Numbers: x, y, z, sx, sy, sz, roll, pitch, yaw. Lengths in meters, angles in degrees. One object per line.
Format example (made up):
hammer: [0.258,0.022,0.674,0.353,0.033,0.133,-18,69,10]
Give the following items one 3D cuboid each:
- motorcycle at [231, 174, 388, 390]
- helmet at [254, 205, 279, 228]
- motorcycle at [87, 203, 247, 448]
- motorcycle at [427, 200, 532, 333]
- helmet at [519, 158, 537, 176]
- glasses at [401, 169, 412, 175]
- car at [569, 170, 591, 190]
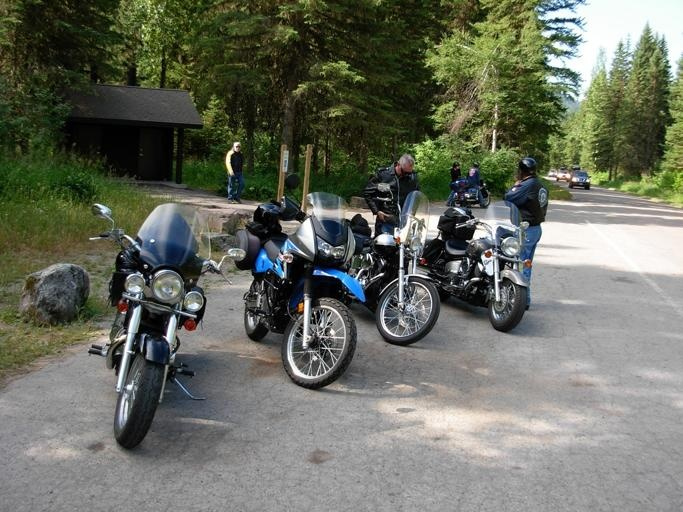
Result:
motorcycle: [-0.440,0.312,6.296,0.916,2.003,1.886,-7,14,-40]
helmet: [-0.917,-0.498,6.669,0.272,0.234,0.271,14,21,26]
motorcycle: [-1.601,0.525,4.981,1.091,1.907,1.347,-1,11,-19]
motorcycle: [2.071,0.161,8.489,1.751,1.655,0.585,13,15,43]
helmet: [3.228,-1.550,9.538,0.250,0.358,0.334,9,1,-2]
glasses: [1.105,-1.423,9.419,0.068,0.085,0.095,10,44,-20]
car: [26.062,-8.286,61.132,1.946,1.889,2.588,8,12,26]
